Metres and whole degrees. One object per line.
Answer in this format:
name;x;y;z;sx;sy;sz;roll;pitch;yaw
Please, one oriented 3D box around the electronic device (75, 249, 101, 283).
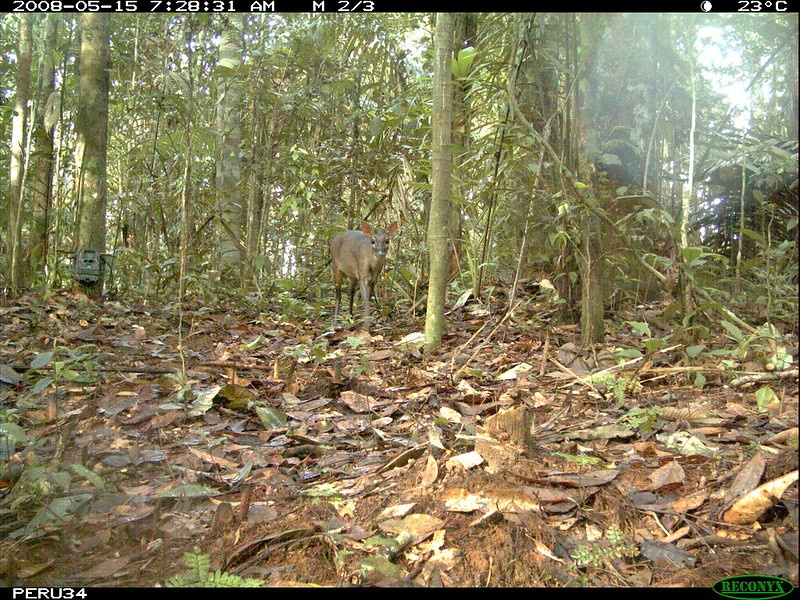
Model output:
electronic device;-2.742;-0.300;5.000;0.250;0.276;0.266;0;15;-28
